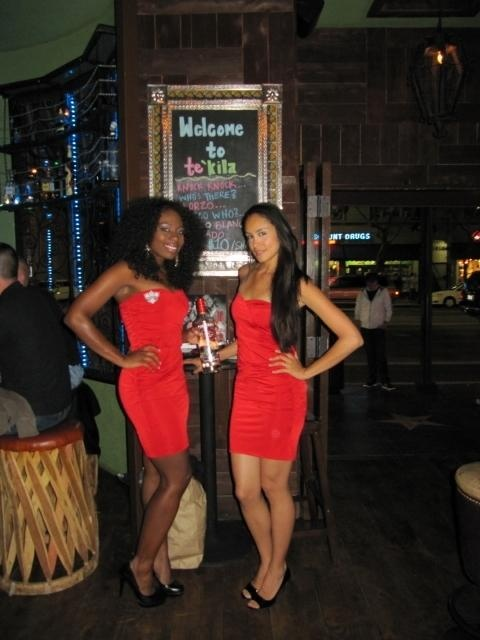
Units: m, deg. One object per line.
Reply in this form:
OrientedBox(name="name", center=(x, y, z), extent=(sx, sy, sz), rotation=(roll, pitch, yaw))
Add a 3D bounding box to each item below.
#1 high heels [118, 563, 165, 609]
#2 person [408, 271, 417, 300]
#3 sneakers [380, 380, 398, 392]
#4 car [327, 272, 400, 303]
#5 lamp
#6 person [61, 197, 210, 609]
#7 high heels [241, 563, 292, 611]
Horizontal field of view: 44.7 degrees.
OrientedBox(name="high heels", center=(-0.428, 1.216, 2.719), extent=(0.249, 0.173, 0.144), rotation=(13, -10, -4))
OrientedBox(name="person", center=(8.264, -1.659, 27.843), extent=(0.360, 0.937, 3.736), rotation=(1, 9, 17))
OrientedBox(name="sneakers", center=(1.861, 0.848, 7.435), extent=(0.086, 0.171, 0.242), rotation=(-1, -3, -33))
OrientedBox(name="car", center=(4.402, -1.160, 20.801), extent=(2.575, 1.070, 1.181), rotation=(2, 5, 1))
OrientedBox(name="lamp", center=(1.388, -1.782, 4.144), extent=(0.335, 0.826, 0.478), rotation=(1, 9, 15))
OrientedBox(name="person", center=(-0.395, 0.364, 2.702), extent=(0.435, 1.840, 0.633), rotation=(2, 10, 21))
OrientedBox(name="high heels", center=(0.133, 1.269, 2.732), extent=(0.202, 0.090, 0.107), rotation=(8, -7, -42))
